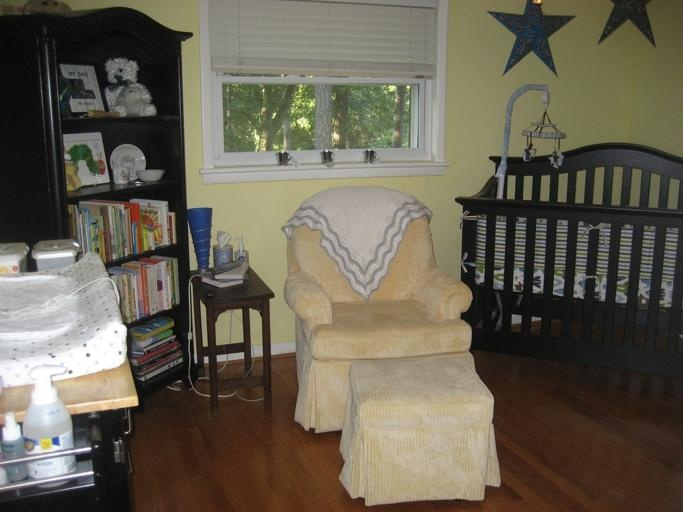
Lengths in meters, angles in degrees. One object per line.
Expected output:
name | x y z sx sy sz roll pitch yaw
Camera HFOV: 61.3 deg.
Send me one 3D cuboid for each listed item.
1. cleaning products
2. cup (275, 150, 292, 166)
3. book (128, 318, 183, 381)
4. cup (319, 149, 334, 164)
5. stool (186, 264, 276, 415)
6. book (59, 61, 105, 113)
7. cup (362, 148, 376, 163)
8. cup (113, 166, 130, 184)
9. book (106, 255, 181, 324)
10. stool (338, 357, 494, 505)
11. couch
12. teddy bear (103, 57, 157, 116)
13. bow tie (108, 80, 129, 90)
cleaning products | -0.729 0.432 1.432 0.109 0.316 0.082 -7 14 -31
cup | -0.383 -0.645 3.821 0.099 0.099 0.095 1 5 0
book | -1.075 0.538 3.334 0.299 0.139 0.397 -14 14 -30
cup | -0.104 -0.661 3.888 0.092 0.092 0.084 -3 25 2
stool | -0.602 0.542 3.417 0.395 0.631 0.637 3 -2 -6
book | -1.394 -0.886 3.085 0.255 0.269 0.020 1 21 6
cup | 0.212 -0.695 4.020 0.103 0.090 0.067 -5 13 -23
cup | -1.212 -0.448 3.225 0.086 0.083 0.094 2 3 0
book | -1.044 0.163 3.028 0.169 0.303 0.307 11 20 38
stool | 0.344 0.787 2.546 0.675 0.443 0.558 -2 15 -4
couch | 0.128 0.287 3.520 1.243 1.470 1.204 -2 10 -10
teddy bear | -1.178 -0.928 3.203 0.253 0.312 0.240 23 29 38
bow tie | -1.252 -0.959 3.244 0.103 0.056 0.029 -22 -7 -20
